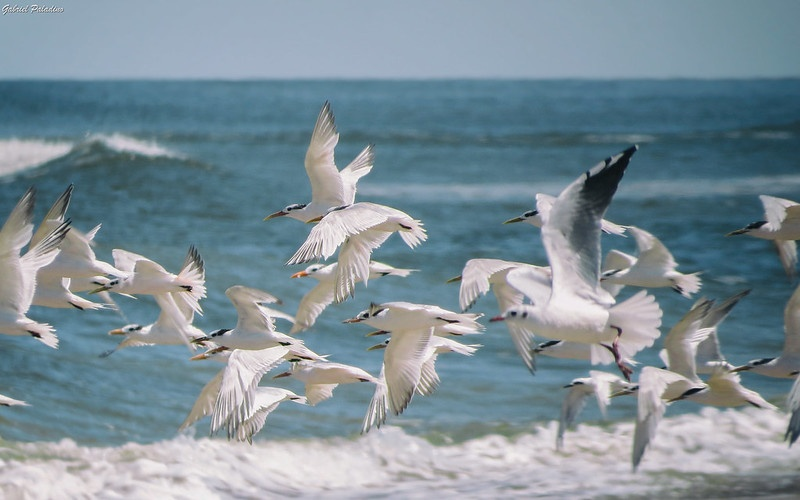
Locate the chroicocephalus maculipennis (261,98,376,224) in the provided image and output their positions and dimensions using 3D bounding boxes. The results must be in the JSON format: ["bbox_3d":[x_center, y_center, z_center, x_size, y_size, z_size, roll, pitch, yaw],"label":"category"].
[{"bbox_3d":[-1.367,-1.573,27.067,1.545,2.210,2.249,10,12,21],"label":"chroicocephalus maculipennis"}]
